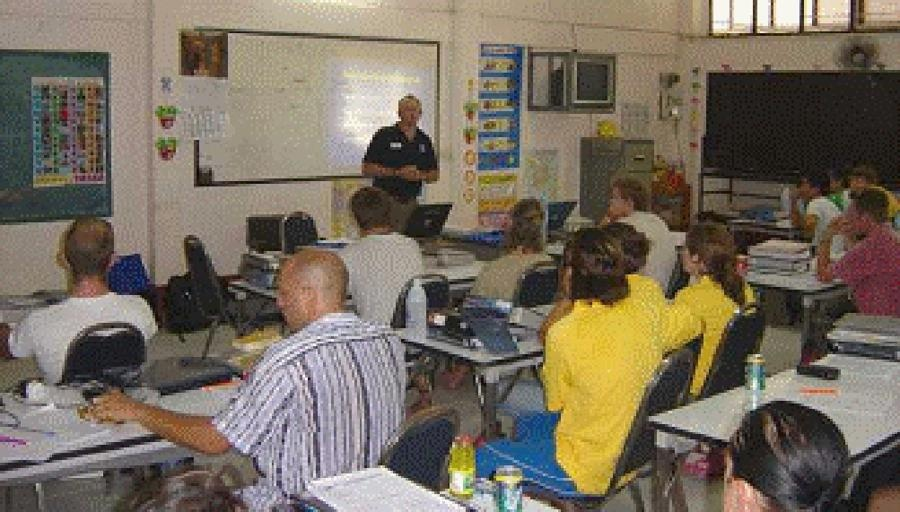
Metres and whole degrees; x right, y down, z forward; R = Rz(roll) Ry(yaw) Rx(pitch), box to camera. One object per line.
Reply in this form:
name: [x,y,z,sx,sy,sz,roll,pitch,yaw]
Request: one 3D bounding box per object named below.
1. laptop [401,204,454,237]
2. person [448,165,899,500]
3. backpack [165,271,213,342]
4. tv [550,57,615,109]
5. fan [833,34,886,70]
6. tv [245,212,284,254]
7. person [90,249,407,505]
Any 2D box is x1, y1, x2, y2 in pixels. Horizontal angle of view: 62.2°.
laptop: [-0.277,-0.396,7.334,0.444,0.388,0.335,-1,39,-27]
person: [1.116,0.498,4.712,0.818,1.421,2.144,9,14,41]
backpack: [-2.939,0.571,8.238,0.776,0.711,0.221,-5,7,-25]
tv: [2.148,-2.548,11.308,0.763,0.888,0.302,16,23,21]
fan: [6.336,-3.108,11.563,0.621,0.516,0.157,5,5,14]
tv: [-1.813,-0.244,7.613,0.529,0.366,0.509,-3,13,-23]
person: [-0.858,0.621,3.707,1.231,1.239,0.402,-4,11,-23]
